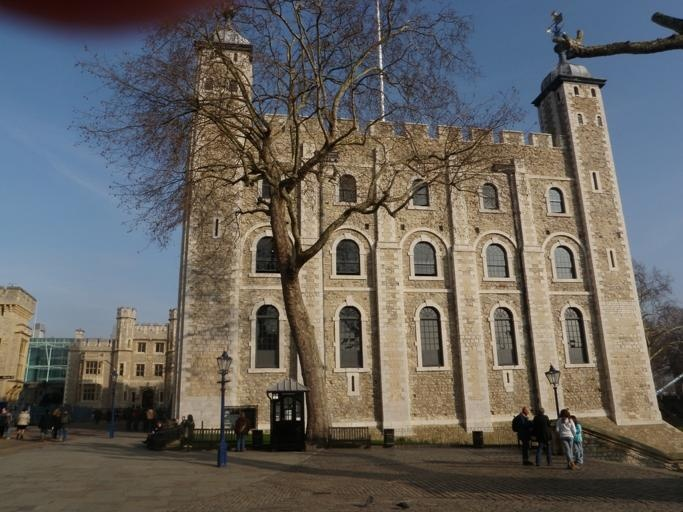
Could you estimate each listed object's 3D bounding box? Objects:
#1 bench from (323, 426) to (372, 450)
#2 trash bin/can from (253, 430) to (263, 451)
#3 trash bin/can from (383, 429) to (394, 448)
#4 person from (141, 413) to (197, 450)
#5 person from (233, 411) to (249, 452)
[{"bbox_3d":[0.385,8.572,25.895,2.638,0.980,1.086,13,-23,-40],"label":"bench"},{"bbox_3d":[-3.950,8.568,25.586,0.556,0.855,0.681,-3,-17,3],"label":"trash bin/can"},{"bbox_3d":[2.375,9.011,27.304,0.653,0.922,0.681,0,-12,4],"label":"trash bin/can"},{"bbox_3d":[-8.047,8.309,25.804,2.113,0.905,1.571,2,-7,-22],"label":"person"},{"bbox_3d":[-4.569,8.041,25.122,0.606,1.681,1.365,1,-18,-10],"label":"person"}]
